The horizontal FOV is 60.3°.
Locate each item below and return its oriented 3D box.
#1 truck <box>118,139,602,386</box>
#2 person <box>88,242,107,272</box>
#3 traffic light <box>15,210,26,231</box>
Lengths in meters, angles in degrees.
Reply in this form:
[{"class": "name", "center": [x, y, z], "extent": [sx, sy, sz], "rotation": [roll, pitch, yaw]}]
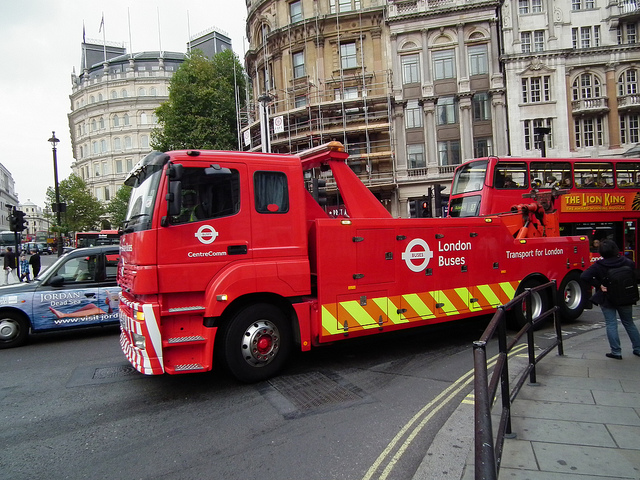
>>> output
[{"class": "truck", "center": [1.505, -0.633, 12.863], "extent": [10.762, 4.875, 4.169], "rotation": [-5, 22, -23]}, {"class": "person", "center": [-5.590, 0.531, 13.822], "extent": [0.387, 0.778, 0.374], "rotation": [1, -5, -29]}, {"class": "traffic light", "center": [-12.021, -0.778, 22.056], "extent": [0.324, 0.761, 1.128], "rotation": [-5, 4, -30]}]
